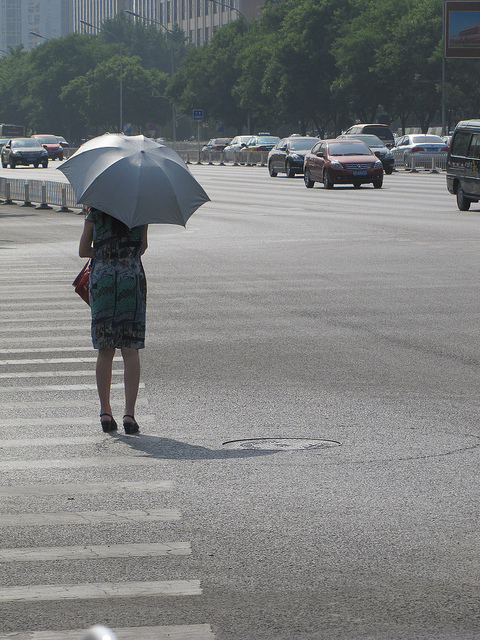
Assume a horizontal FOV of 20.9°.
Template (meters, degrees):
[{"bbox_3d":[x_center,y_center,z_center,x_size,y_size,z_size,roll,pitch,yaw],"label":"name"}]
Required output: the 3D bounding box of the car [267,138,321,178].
[{"bbox_3d":[1.796,-5.885,47.671,0.970,0.884,2.252,-3,4,-21],"label":"car"}]

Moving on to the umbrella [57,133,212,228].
[{"bbox_3d":[-0.624,-0.724,7.148,0.704,0.523,0.949,5,12,22],"label":"umbrella"}]

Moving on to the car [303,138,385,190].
[{"bbox_3d":[2.750,-4.408,37.311,1.104,1.038,2.438,-1,2,-14],"label":"car"}]

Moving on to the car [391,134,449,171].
[{"bbox_3d":[7.178,-6.585,51.839,1.487,1.478,3.263,-3,12,-14],"label":"car"}]

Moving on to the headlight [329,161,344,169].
[{"bbox_3d":[2.676,-4.317,36.361,0.176,0.126,0.269,8,-2,4],"label":"headlight"}]

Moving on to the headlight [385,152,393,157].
[{"bbox_3d":[5.311,-5.896,46.707,0.108,0.189,0.746,4,13,21],"label":"headlight"}]

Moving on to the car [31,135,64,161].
[{"bbox_3d":[-11.850,-10.682,80.918,1.354,1.411,3.170,-1,4,-17],"label":"car"}]

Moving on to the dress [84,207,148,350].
[{"bbox_3d":[-0.671,-0.214,6.929,0.308,0.776,0.178,-1,9,-7],"label":"dress"}]

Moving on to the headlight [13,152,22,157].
[{"bbox_3d":[-10.772,-7.878,62.363,0.409,0.204,0.063,3,10,16],"label":"headlight"}]

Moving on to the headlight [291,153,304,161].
[{"bbox_3d":[2.010,-5.793,46.500,0.367,0.273,0.173,0,10,-2],"label":"headlight"}]

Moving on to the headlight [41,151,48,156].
[{"bbox_3d":[-9.629,-8.001,62.926,0.266,0.147,0.376,-4,9,5],"label":"headlight"}]

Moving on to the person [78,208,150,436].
[{"bbox_3d":[-0.682,-0.004,6.910,0.352,1.166,0.421,-1,9,-4],"label":"person"}]

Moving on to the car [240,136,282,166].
[{"bbox_3d":[0.794,-8.796,68.134,1.148,1.178,2.976,-1,8,-7],"label":"car"}]

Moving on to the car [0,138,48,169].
[{"bbox_3d":[-10.800,-8.197,63.742,1.212,1.082,2.919,-2,2,-18],"label":"car"}]

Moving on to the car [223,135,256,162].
[{"bbox_3d":[-0.277,-9.504,72.524,1.068,1.014,2.606,-2,12,-9],"label":"car"}]
